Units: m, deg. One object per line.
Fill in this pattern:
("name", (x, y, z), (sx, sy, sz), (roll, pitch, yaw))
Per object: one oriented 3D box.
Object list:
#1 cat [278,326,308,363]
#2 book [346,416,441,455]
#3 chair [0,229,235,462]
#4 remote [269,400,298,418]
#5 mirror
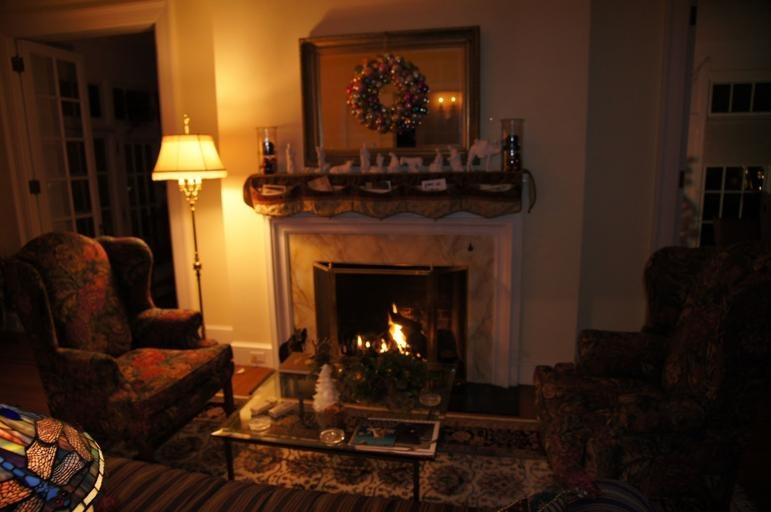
("cat", (-0.792, 0.762, 5.405), (0.270, 0.278, 0.100), (-4, 12, -2))
("book", (0.060, 1.104, 3.893), (0.531, 0.113, 0.315), (-2, 12, 10))
("chair", (-1.818, 0.542, 4.999), (1.435, 2.044, 1.503), (4, 8, 14))
("remote", (-0.666, 0.990, 4.095), (0.082, 0.037, 0.137), (14, 16, 33))
("mirror", (0.024, -1.238, 4.984), (1.450, 1.081, 0.121), (-1, -1, 5))
